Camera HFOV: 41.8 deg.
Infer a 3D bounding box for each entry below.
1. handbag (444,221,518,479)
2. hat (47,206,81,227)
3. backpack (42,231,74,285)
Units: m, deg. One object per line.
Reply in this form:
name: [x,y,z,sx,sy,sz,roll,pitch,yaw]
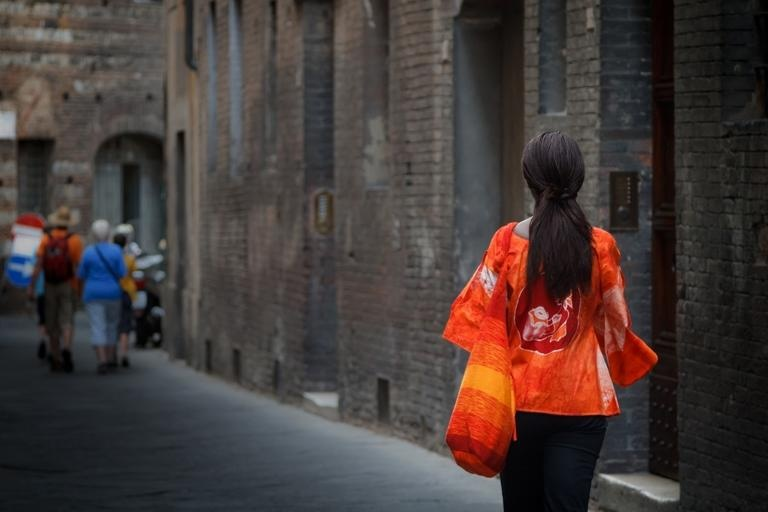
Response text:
handbag: [0.484,0.464,5.112,0.341,1.214,0.285,0,1,5]
hat: [-6.357,-0.794,20.110,0.527,0.311,0.754,4,22,-10]
backpack: [-4.988,0.069,15.349,0.366,0.732,0.680,0,2,-3]
